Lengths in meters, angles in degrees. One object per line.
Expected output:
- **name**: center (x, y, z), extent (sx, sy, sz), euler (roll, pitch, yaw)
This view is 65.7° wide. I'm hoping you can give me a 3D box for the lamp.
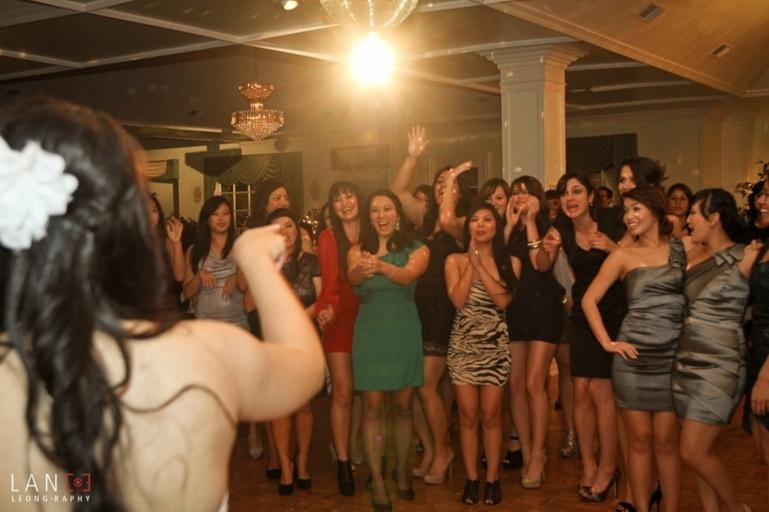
- **lamp**: center (-2.107, -2.735, 9.805), extent (0.824, 1.569, 0.821), euler (0, 5, 15)
